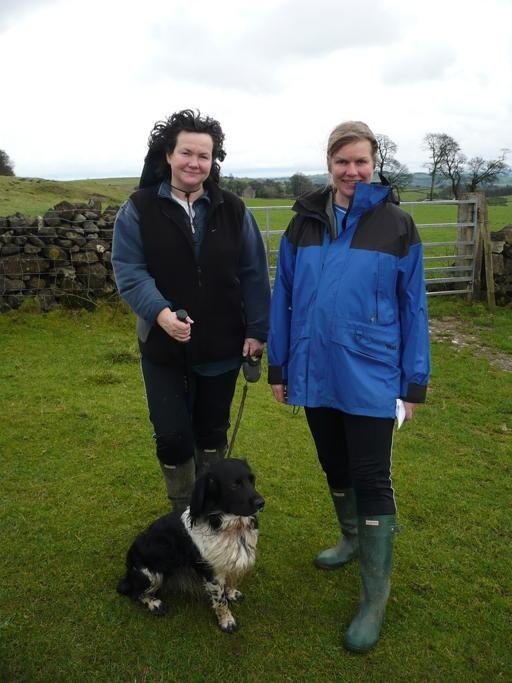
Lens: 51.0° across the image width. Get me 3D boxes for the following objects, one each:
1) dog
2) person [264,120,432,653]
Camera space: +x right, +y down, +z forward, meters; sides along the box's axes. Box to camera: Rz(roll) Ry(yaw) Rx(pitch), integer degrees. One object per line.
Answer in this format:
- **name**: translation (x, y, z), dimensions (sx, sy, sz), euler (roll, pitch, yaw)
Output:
- **dog**: translation (-0.310, 1.013, 2.842), dimensions (0.816, 0.802, 0.441), euler (2, 4, 27)
- **person**: translation (0.505, 0.186, 2.763), dimensions (0.632, 2.525, 0.851), euler (-10, 16, -25)
